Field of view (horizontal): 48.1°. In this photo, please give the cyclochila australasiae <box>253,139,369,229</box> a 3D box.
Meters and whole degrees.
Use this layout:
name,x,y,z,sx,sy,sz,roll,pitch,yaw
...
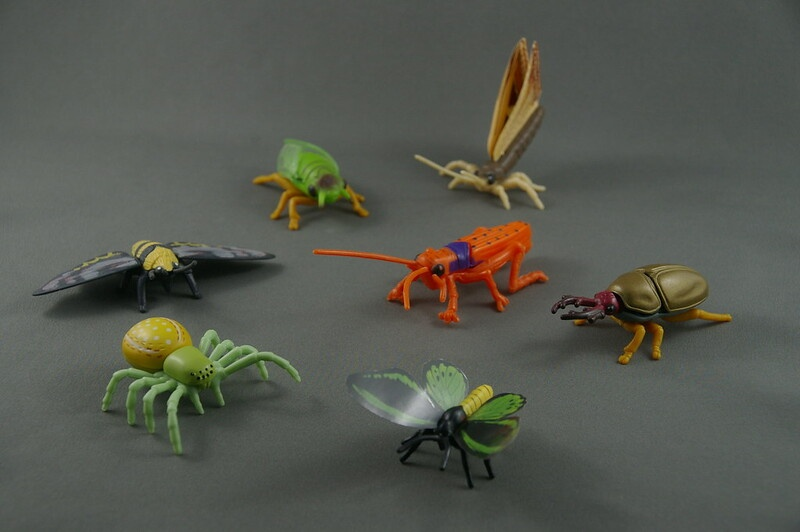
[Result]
name,x,y,z,sx,sy,sz,roll,pitch,yaw
cyclochila australasiae,-0.764,-0.756,7.859,0.917,0.425,1.182,-7,35,-17

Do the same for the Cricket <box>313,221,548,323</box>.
name,x,y,z,sx,sy,sz,roll,pitch,yaw
Cricket,0.473,0.043,6.624,1.335,0.664,0.550,-6,7,-26
